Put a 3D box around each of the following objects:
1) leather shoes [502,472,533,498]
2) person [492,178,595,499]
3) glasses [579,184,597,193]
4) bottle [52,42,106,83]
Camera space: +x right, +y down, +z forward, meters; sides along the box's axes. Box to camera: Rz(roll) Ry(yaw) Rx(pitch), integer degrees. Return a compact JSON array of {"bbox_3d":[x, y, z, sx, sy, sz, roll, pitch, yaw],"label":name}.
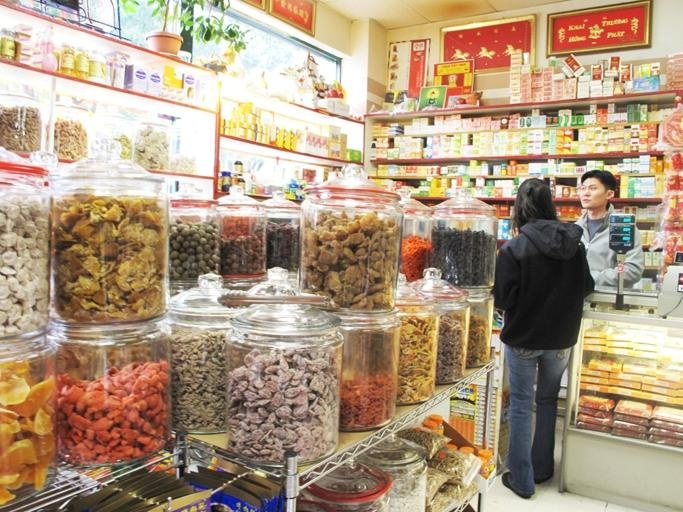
[{"bbox_3d":[1.212,1.566,3.453,0.091,0.077,0.215,-12,21,-26],"label":"leather shoes"},{"bbox_3d":[1.332,0.569,3.330,0.542,2.161,0.622,4,8,28],"label":"person"},{"bbox_3d":[1.980,-0.536,4.013,0.081,0.047,0.077,-3,4,-41],"label":"glasses"},{"bbox_3d":[-1.877,-1.396,3.677,0.232,0.274,0.328,4,-6,5],"label":"bottle"}]
